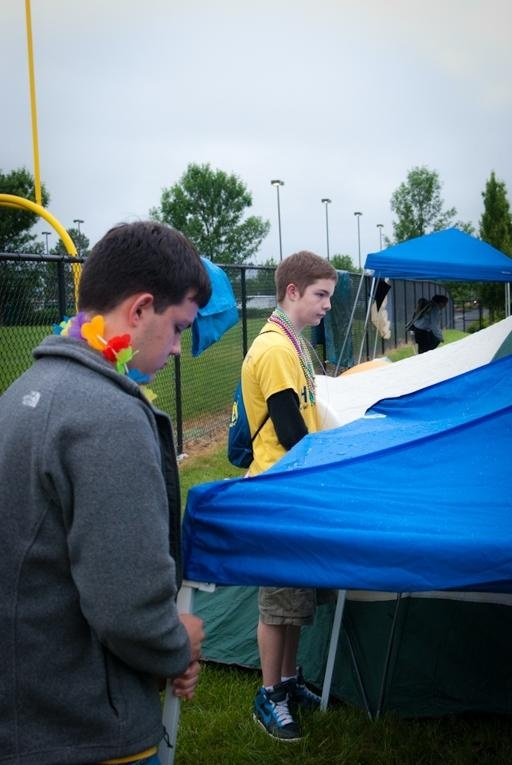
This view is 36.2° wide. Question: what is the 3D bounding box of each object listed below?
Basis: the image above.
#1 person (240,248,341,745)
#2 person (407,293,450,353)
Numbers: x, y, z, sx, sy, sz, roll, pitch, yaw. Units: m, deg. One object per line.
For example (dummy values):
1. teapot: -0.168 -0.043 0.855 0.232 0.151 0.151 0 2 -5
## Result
1. person: 0.103 0.385 2.630 0.343 1.628 0.718 -2 8 14
2. person: 2.719 -0.911 12.709 0.547 0.860 0.471 0 9 24
